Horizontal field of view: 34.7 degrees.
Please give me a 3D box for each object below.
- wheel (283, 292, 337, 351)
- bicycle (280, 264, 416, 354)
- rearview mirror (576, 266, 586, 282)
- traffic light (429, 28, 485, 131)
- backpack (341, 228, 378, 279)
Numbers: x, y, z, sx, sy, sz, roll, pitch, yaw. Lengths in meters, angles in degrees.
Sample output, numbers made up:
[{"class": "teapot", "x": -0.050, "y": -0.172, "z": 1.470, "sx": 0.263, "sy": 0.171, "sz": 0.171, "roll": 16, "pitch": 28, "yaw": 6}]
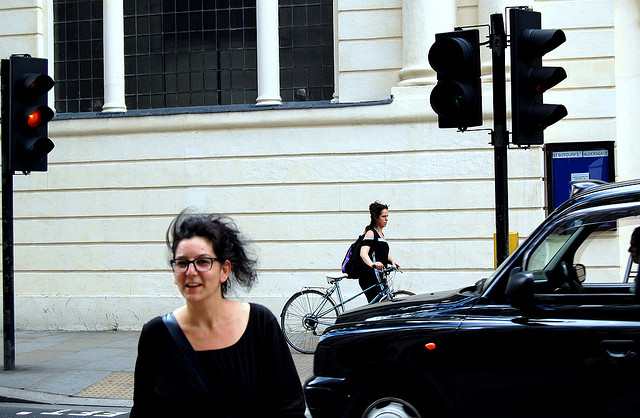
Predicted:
[{"class": "wheel", "x": -0.142, "y": 1.923, "z": 17.319, "sx": 1.285, "sy": 1.057, "sz": 0.132, "roll": 1, "pitch": -4, "yaw": 6}, {"class": "bicycle", "x": 0.681, "y": 1.780, "z": 18.418, "sx": 2.850, "sy": 1.444, "sz": 1.208, "roll": -1, "pitch": -7, "yaw": -19}, {"class": "rearview mirror", "x": 3.479, "y": 0.861, "z": 13.691, "sx": 0.120, "sy": 0.186, "sz": 0.079, "roll": -10, "pitch": 13, "yaw": -9}, {"class": "traffic light", "x": 2.045, "y": -1.980, "z": 15.579, "sx": 0.791, "sy": 1.414, "sz": 0.551, "roll": -2, "pitch": 2, "yaw": 32}, {"class": "backpack", "x": 0.694, "y": 0.788, "z": 17.934, "sx": 0.682, "sy": 0.852, "sz": 0.319, "roll": -4, "pitch": 13, "yaw": 15}]
